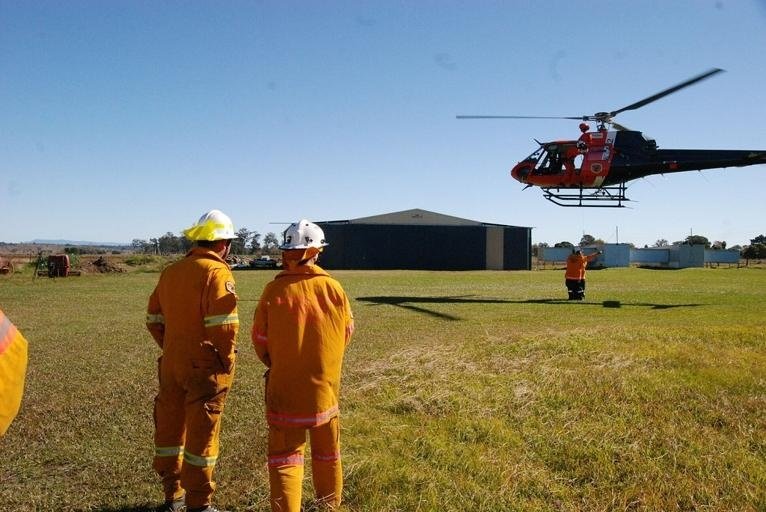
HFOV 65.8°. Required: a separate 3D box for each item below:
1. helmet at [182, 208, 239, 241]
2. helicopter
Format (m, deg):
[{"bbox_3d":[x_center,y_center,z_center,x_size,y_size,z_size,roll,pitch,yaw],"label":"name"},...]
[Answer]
[{"bbox_3d":[-1.796,-0.282,6.222,0.524,0.277,0.405,5,-3,-44],"label":"helmet"},{"bbox_3d":[7.637,-2.834,17.480,7.337,2.768,5.973,2,6,9],"label":"helicopter"}]
